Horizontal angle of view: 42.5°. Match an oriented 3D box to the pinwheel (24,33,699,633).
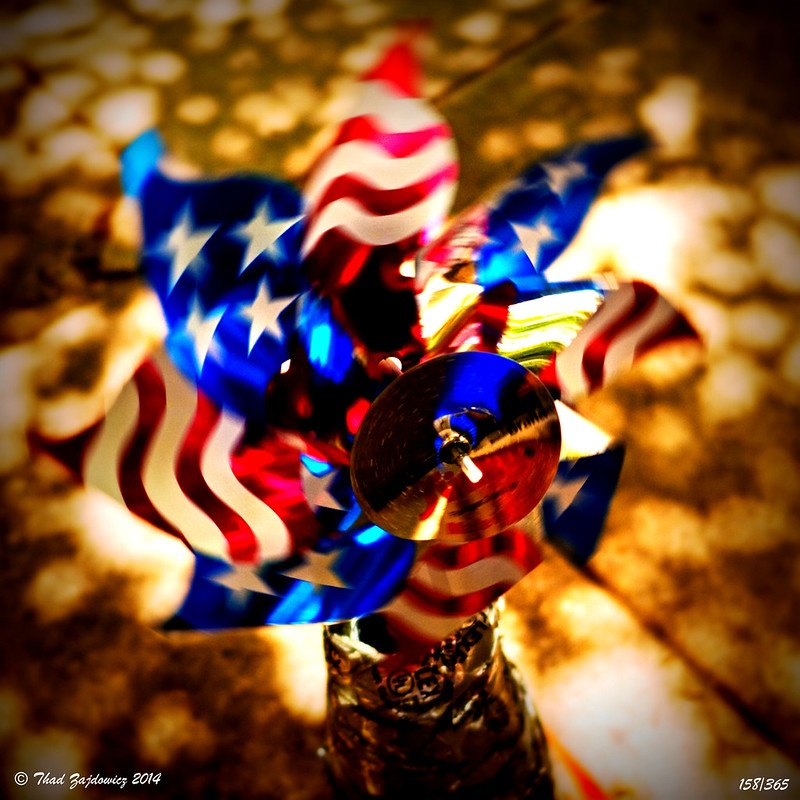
[{"bbox_3d":[-0.029,-0.007,0.758,0.494,0.111,0.400,-14,85,-11],"label":"pinwheel"}]
